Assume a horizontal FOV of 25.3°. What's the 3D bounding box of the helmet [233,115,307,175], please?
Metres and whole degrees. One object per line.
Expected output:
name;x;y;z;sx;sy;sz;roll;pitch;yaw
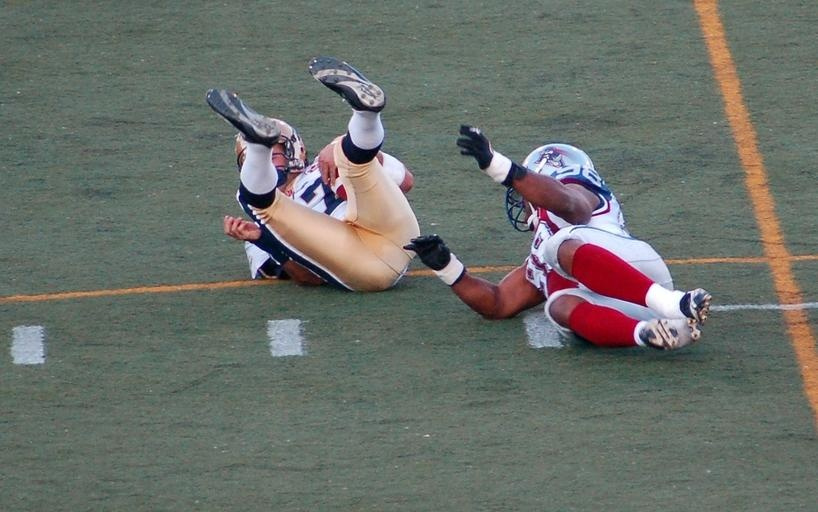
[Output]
helmet;-0.812;-0.747;11.791;0.323;0.352;0.316;23;57;36

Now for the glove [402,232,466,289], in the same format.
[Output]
glove;0.150;-0.019;11.094;0.287;0.137;0.367;8;17;-29

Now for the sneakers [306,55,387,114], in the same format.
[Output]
sneakers;-0.370;-1.037;11.031;0.610;0.240;0.209;30;76;19

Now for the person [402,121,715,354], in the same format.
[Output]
person;1.005;0.058;11.215;1.723;0.987;2.001;6;32;-23

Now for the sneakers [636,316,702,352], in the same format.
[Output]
sneakers;1.511;0.442;10.760;0.346;0.367;0.145;15;64;2
